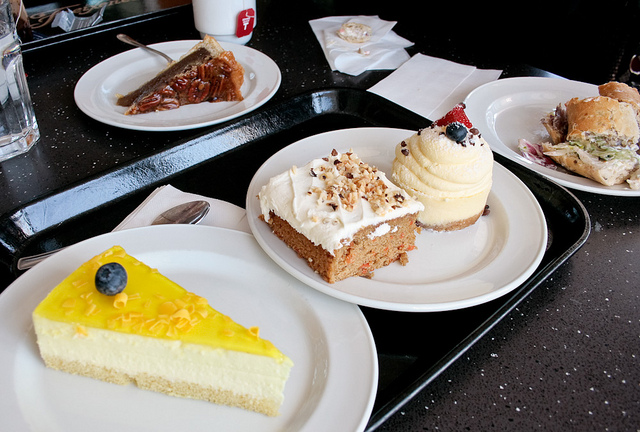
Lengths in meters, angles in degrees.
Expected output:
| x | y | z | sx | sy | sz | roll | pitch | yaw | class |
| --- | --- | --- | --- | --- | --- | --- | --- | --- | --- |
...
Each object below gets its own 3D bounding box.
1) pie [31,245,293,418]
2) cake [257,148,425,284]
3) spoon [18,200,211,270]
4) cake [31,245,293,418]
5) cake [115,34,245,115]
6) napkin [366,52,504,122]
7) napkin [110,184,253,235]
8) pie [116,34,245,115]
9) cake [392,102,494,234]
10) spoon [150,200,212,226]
| x | y | z | sx | sy | sz | roll | pitch | yaw | class |
| --- | --- | --- | --- | --- | --- | --- | --- | --- | --- |
| -0.493 | 0.484 | 1.543 | 0.766 | 0.329 | 0.426 | 23 | 45 | 9 | pie |
| 0.086 | -0.032 | 1.678 | 0.467 | 0.253 | 0.467 | -23 | 51 | -27 | cake |
| -0.754 | 0.078 | 1.672 | 0.501 | 0.060 | 0.096 | -21 | 80 | -13 | spoon |
| -0.490 | 0.468 | 1.589 | 0.788 | 0.341 | 0.424 | 24 | 47 | 8 | cake |
| -0.672 | -0.685 | 2.297 | 0.486 | 0.152 | 0.391 | -25 | 57 | -13 | cake |
| 0.600 | -0.704 | 2.444 | 0.459 | 0.032 | 0.616 | 29 | 53 | 21 | napkin |
| -0.570 | 0.000 | 1.810 | 0.276 | 0.032 | 0.267 | 26 | 46 | 17 | napkin |
| -0.682 | -0.685 | 2.294 | 0.477 | 0.159 | 0.391 | -14 | 57 | -15 | pie |
| 0.460 | -0.183 | 1.977 | 0.423 | 0.471 | 0.460 | -15 | 37 | -15 | cake |
| -0.524 | -0.006 | 1.758 | 0.078 | 0.036 | 0.253 | 35 | 43 | 25 | spoon |
